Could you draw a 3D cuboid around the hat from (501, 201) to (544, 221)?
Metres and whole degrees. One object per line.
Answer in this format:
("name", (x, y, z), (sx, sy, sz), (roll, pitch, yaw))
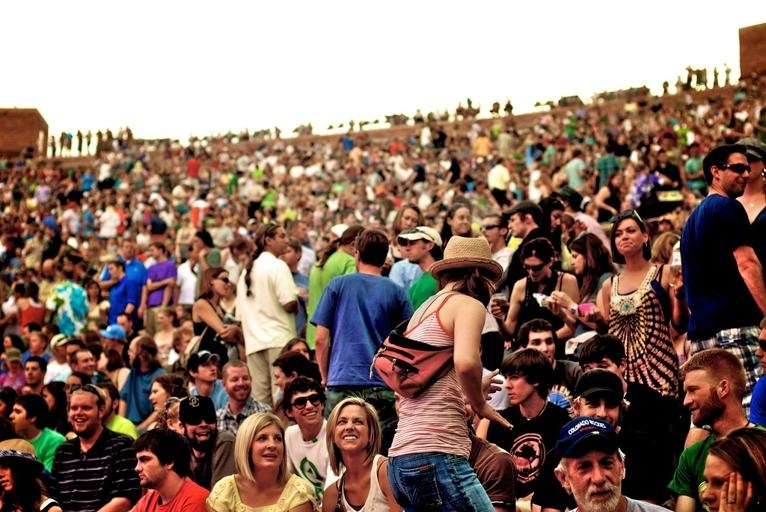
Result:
("hat", (2.289, -0.738, 22.381), (0.458, 0.240, 0.319), (19, -2, 11))

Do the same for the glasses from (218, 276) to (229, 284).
("glasses", (-2.636, 0.387, 22.987), (0.110, 0.116, 0.036), (0, 2, -25))

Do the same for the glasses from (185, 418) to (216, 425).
("glasses", (-2.752, 2.478, 21.013), (0.461, 0.097, 0.112), (-3, 0, -15))

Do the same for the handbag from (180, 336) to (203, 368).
("handbag", (-3.179, 1.556, 22.967), (0.141, 0.542, 0.435), (28, -2, -4))

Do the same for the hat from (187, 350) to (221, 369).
("hat", (-2.894, 1.668, 22.495), (0.418, 0.154, 0.277), (-12, -9, 21))

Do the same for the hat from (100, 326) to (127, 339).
("hat", (-4.968, 1.399, 25.740), (0.353, 0.194, 0.254), (4, 2, 3))

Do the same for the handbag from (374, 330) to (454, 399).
("handbag", (0.458, 1.316, 18.713), (1.045, 0.738, 1.384), (9, 14, 39))

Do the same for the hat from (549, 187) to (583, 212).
("hat", (3.240, -1.009, 24.396), (0.526, 0.203, 0.447), (34, 8, 2))
